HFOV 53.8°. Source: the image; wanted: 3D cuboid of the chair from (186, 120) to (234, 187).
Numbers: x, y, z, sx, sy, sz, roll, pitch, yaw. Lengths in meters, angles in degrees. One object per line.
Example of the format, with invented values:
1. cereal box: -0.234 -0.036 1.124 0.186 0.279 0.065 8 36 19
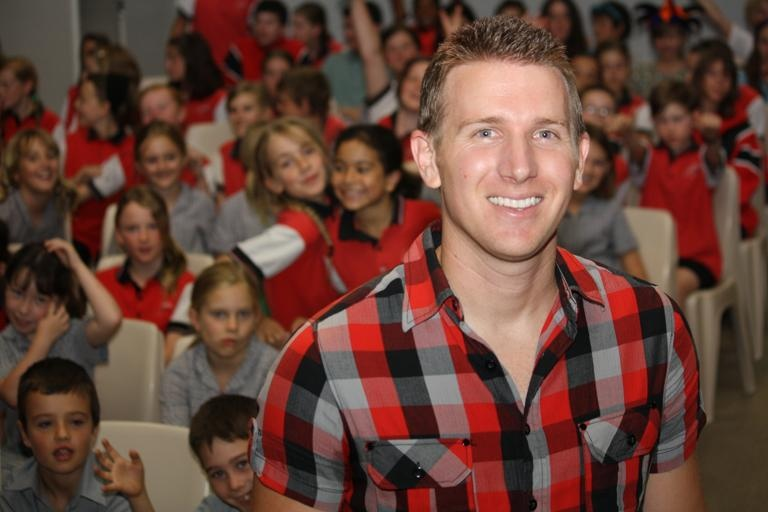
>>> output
1. chair: -0.556 -0.317 2.430 0.137 0.204 0.157 -2 12 -5
